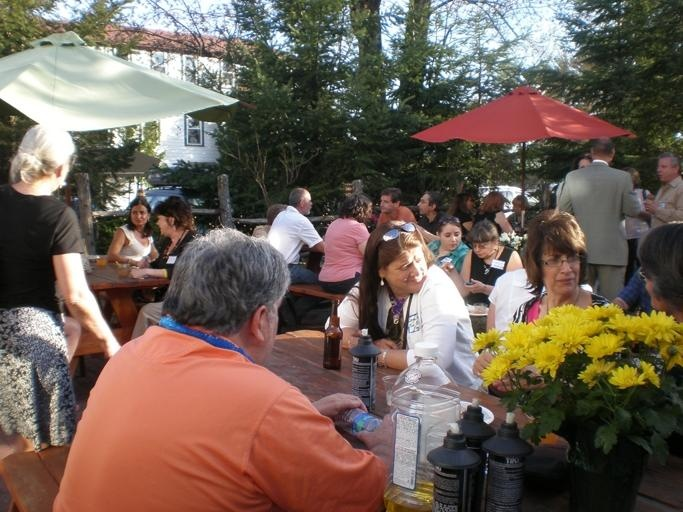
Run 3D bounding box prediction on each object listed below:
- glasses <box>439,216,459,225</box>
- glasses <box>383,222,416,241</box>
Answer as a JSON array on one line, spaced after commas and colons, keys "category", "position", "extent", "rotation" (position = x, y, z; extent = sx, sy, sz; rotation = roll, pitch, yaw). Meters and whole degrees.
[{"category": "glasses", "position": [1.130, -0.373, 5.670], "extent": [0.225, 0.069, 0.228], "rotation": [1, 12, 3]}, {"category": "glasses", "position": [0.299, -0.128, 2.856], "extent": [0.127, 0.036, 0.123], "rotation": [-15, -19, -28]}]
